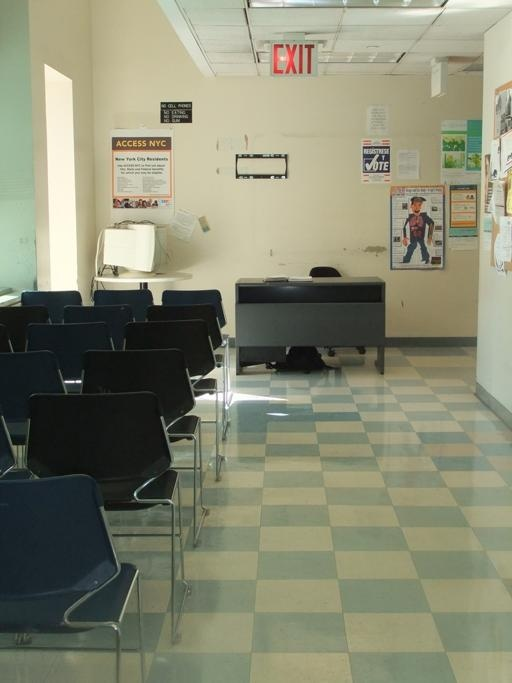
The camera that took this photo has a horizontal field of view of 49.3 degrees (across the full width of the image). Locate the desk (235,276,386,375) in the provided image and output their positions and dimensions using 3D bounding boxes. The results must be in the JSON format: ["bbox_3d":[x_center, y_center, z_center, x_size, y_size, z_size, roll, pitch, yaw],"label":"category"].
[{"bbox_3d":[0.598,-0.152,6.163,1.583,1.020,0.854,0,6,6],"label":"desk"}]
